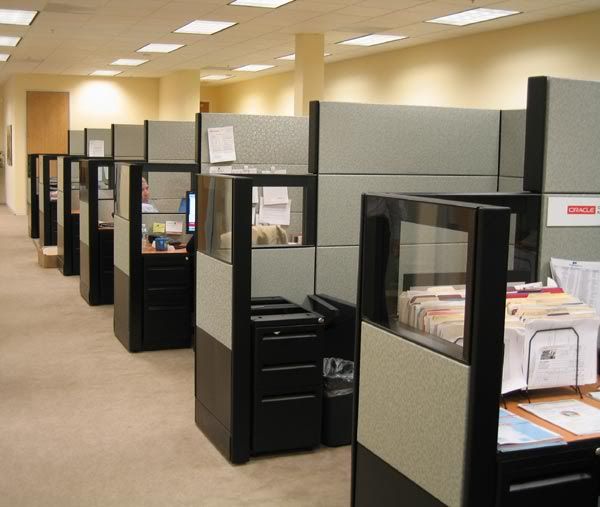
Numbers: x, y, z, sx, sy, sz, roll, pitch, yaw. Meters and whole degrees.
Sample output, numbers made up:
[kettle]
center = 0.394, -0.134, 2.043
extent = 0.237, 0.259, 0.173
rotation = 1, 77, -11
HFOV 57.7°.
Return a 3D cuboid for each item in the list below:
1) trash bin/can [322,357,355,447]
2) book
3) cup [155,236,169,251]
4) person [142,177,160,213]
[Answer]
[trash bin/can]
center = 0.229, 0.905, 3.329
extent = 0.179, 0.459, 0.413
rotation = 1, 9, 4
[book]
center = 0.702, 0.221, 1.871
extent = 0.577, 0.216, 0.427
rotation = -1, 8, -22
[cup]
center = -1.283, -0.104, 5.138
extent = 0.117, 0.118, 0.118
rotation = 0, 10, 0
[person]
center = -1.741, -0.690, 6.331
extent = 0.159, 0.325, 1.119
rotation = -2, 10, -15
